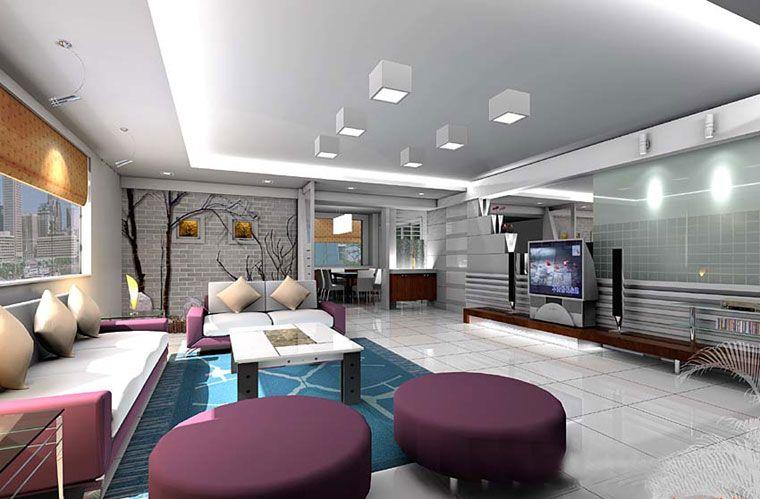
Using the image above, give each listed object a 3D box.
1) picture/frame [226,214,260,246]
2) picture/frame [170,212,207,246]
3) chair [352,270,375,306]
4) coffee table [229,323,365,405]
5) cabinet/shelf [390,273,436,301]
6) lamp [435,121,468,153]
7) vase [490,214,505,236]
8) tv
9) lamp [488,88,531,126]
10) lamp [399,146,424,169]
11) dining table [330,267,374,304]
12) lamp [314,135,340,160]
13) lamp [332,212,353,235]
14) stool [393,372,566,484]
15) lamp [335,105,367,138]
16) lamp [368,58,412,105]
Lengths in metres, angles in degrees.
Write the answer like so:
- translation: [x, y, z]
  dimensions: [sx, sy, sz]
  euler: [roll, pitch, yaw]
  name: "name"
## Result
- translation: [-2.946, -0.414, 8.897]
  dimensions: [0.696, 0.653, 0.057]
  euler: [-1, 1, -18]
  name: "picture/frame"
- translation: [-3.941, -0.417, 8.527]
  dimensions: [0.671, 0.753, 0.063]
  euler: [4, -7, -29]
  name: "picture/frame"
- translation: [-0.370, 0.962, 11.148]
  dimensions: [0.532, 0.796, 1.450]
  euler: [-2, 0, -1]
  name: "chair"
- translation: [-1.015, 1.274, 4.775]
  dimensions: [1.236, 0.740, 1.485]
  euler: [-2, 0, -20]
  name: "coffee table"
- translation: [0.803, 0.902, 10.292]
  dimensions: [1.179, 0.724, 0.704]
  euler: [2, -4, -27]
  name: "cabinet/shelf"
- translation: [0.835, -1.341, 5.003]
  dimensions: [0.255, 0.238, 0.331]
  euler: [-2, 0, -20]
  name: "lamp"
- translation: [2.514, -0.525, 8.761]
  dimensions: [0.367, 0.461, 0.363]
  euler: [1, -3, -10]
  name: "vase"
- translation: [2.936, 0.551, 6.642]
  dimensions: [0.411, 1.529, 1.399]
  euler: [3, -5, -22]
  name: "tv"
- translation: [1.322, -1.439, 4.326]
  dimensions: [0.383, 0.236, 0.380]
  euler: [10, -15, -25]
  name: "lamp"
- translation: [0.411, -1.264, 5.670]
  dimensions: [0.251, 0.236, 0.372]
  euler: [-2, 0, -18]
  name: "lamp"
- translation: [-0.609, 0.862, 10.772]
  dimensions: [1.041, 0.517, 1.028]
  euler: [2, -4, -20]
  name: "dining table"
- translation: [-0.670, -1.307, 5.233]
  dimensions: [0.279, 0.266, 0.301]
  euler: [-2, 0, -20]
  name: "lamp"
- translation: [-1.071, -0.752, 12.023]
  dimensions: [0.225, 0.496, 0.755]
  euler: [-2, 0, -34]
  name: "lamp"
- translation: [0.785, 1.459, 3.396]
  dimensions: [1.325, 0.612, 0.708]
  euler: [-2, 0, 17]
  name: "stool"
- translation: [-0.330, -1.418, 4.701]
  dimensions: [0.328, 0.329, 0.282]
  euler: [-6, 14, -43]
  name: "lamp"
- translation: [0.080, -1.543, 4.087]
  dimensions: [0.406, 0.301, 0.401]
  euler: [1, -8, -21]
  name: "lamp"
